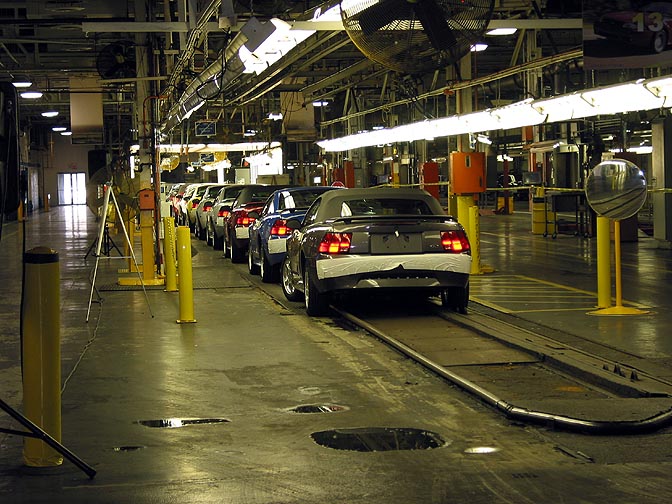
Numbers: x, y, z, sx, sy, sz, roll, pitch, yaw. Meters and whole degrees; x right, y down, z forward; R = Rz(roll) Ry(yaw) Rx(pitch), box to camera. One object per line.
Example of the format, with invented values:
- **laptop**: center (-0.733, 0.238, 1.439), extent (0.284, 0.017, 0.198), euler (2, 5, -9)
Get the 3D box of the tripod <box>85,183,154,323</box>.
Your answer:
- **tripod**: center (-4.944, 0.046, 14.446), extent (1.391, 2.993, 1.506), euler (1, 13, -8)
